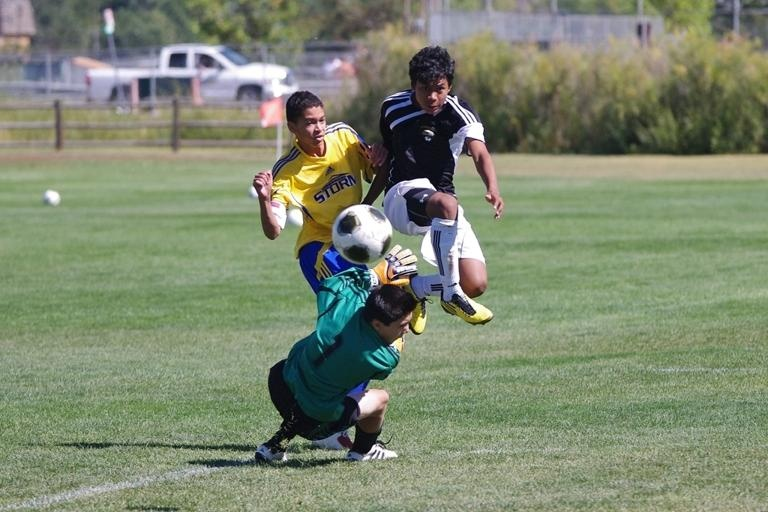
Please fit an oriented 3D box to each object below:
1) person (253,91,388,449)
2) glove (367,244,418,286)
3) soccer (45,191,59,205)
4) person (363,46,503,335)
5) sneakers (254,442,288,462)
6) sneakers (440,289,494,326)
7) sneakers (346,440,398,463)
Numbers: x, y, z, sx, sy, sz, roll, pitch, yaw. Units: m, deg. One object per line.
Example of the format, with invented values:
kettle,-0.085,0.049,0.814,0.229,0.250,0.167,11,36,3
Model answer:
person,-0.407,0.071,14.700,1.441,2.939,1.066,-15,3,-18
glove,0.067,0.068,14.522,0.364,0.367,0.098,-48,3,-18
soccer,-4.180,-0.734,21.172,0.215,0.181,0.172,-2,8,-10
person,0.406,-0.605,14.864,0.925,2.281,1.344,-1,3,-28
sneakers,-0.967,1.622,14.117,0.235,0.132,0.140,0,9,-2
sneakers,0.715,0.453,14.680,0.545,0.192,0.237,20,-16,12
sneakers,-0.093,1.625,14.189,0.474,0.183,0.156,-1,-1,-3
